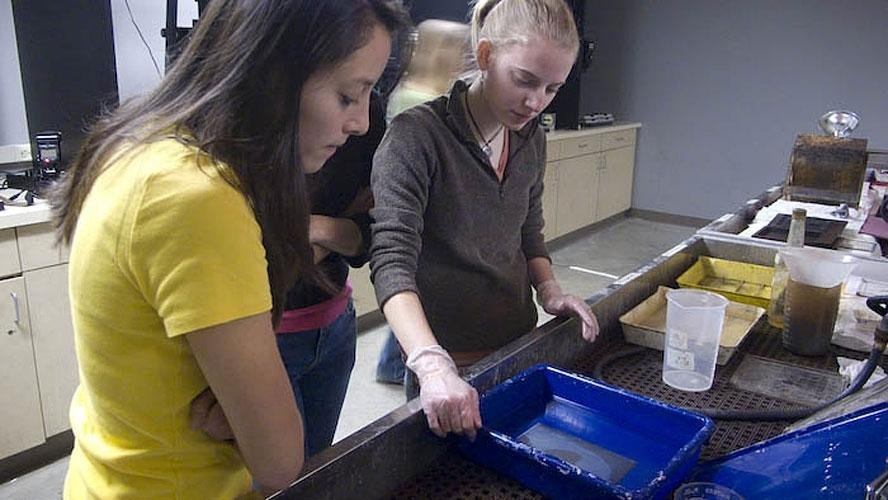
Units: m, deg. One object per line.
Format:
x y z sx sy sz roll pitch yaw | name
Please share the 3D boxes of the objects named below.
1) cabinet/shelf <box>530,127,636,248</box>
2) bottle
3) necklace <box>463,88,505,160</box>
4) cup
1.261 -0.575 5.333 0.673 0.750 1.196 18 31 41 | cabinet/shelf
1.257 0.061 2.109 0.130 0.399 0.126 5 3 0 | bottle
0.152 -0.430 2.041 0.135 0.252 0.057 -17 9 21 | necklace
0.780 0.259 1.884 0.169 0.238 0.208 13 22 38 | cup
